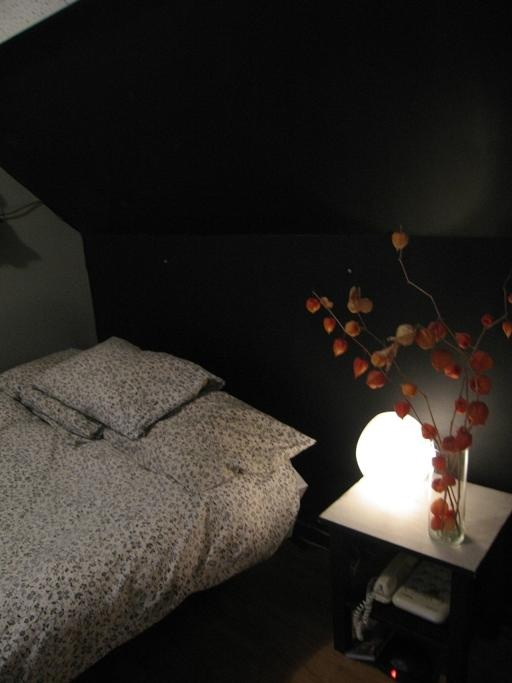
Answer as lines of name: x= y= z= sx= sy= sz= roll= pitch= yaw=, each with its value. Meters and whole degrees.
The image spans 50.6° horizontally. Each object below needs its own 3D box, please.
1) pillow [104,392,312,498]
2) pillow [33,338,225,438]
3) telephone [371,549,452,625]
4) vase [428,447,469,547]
pillow: x=-0.201 y=0.311 z=1.924 sx=0.641 sy=0.160 sz=0.642 roll=0 pitch=31 yaw=-12
pillow: x=-0.501 y=0.135 z=2.126 sx=0.645 sy=0.157 sz=0.516 roll=24 pitch=32 yaw=35
telephone: x=0.455 y=0.673 z=1.525 sx=0.263 sy=0.081 sz=0.285 roll=-5 pitch=11 yaw=6
vase: x=0.494 y=0.369 z=1.405 sx=0.096 sy=0.312 sz=0.080 roll=1 pitch=12 yaw=23
